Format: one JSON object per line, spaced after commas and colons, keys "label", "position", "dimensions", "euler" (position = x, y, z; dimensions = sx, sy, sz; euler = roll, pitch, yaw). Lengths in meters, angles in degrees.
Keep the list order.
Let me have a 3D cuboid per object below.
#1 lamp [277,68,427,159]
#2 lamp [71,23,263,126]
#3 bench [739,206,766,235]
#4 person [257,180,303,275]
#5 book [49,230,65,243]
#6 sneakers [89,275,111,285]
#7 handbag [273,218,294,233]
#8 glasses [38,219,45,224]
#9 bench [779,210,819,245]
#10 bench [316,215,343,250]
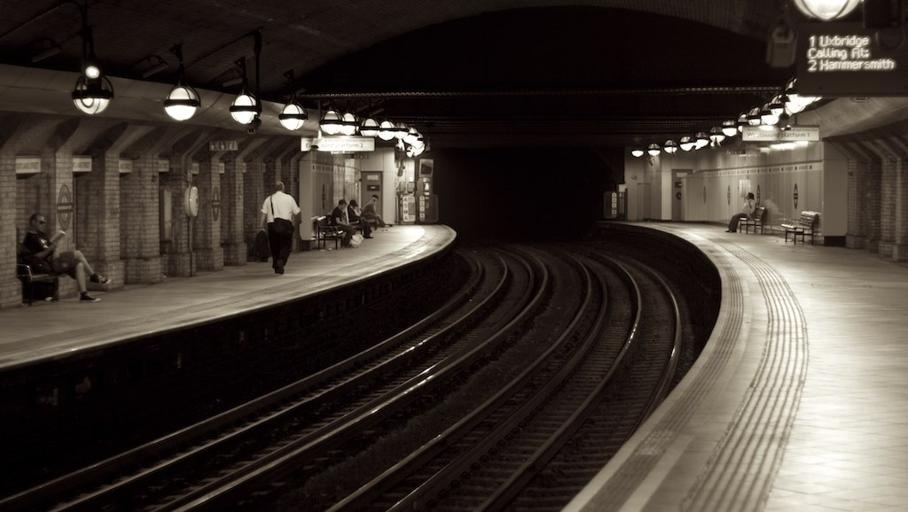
{"label": "lamp", "position": [-3.272, -4.452, 22.257], "dimensions": [3.182, 1.168, 2.496], "euler": [-5, 9, -42]}
{"label": "lamp", "position": [-6.287, -3.949, 15.939], "dimensions": [2.655, 1.224, 0.707], "euler": [-2, -3, -27]}
{"label": "bench", "position": [13.805, -1.655, 33.964], "dimensions": [1.183, 1.335, 1.111], "euler": [0, 0, -4]}
{"label": "person", "position": [-4.485, -0.696, 18.993], "dimensions": [0.841, 2.409, 0.883], "euler": [-2, 11, -15]}
{"label": "book", "position": [-8.557, -0.424, 15.886], "dimensions": [0.206, 0.342, 0.215], "euler": [23, 0, 2]}
{"label": "sneakers", "position": [-7.941, 0.525, 16.329], "dimensions": [0.599, 0.239, 0.219], "euler": [1, 14, 15]}
{"label": "handbag", "position": [-4.318, -0.772, 18.765], "dimensions": [0.580, 0.379, 0.328], "euler": [3, 10, -3]}
{"label": "glasses", "position": [-8.749, -0.727, 15.701], "dimensions": [0.104, 0.096, 0.105], "euler": [0, -2, 32]}
{"label": "bench", "position": [13.325, -1.360, 28.469], "dimensions": [1.097, 1.271, 2.314], "euler": [0, 2, 5]}
{"label": "bench", "position": [-4.497, -0.831, 26.477], "dimensions": [0.963, 1.156, 1.342], "euler": [-1, 11, -11]}
